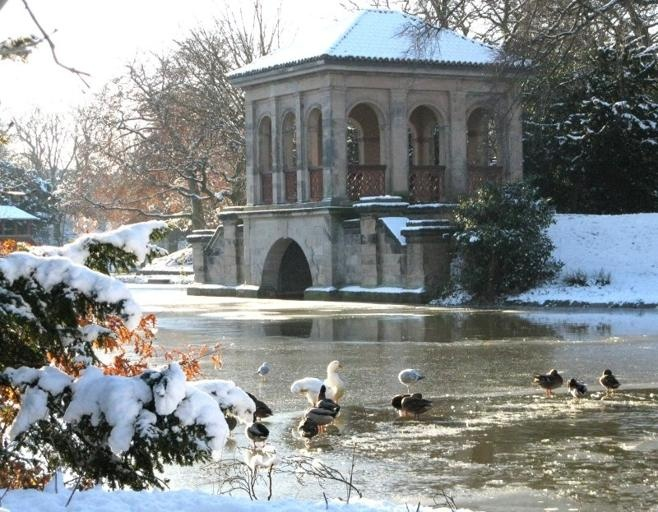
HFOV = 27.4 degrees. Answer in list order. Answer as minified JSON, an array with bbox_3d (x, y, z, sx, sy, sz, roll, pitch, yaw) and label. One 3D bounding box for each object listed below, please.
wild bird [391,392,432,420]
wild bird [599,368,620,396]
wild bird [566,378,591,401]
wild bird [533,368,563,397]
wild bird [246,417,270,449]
[{"bbox_3d":[1.329,2.328,21.307,0.648,0.364,0.510,-1,-6,8],"label":"wild bird"},{"bbox_3d":[4.737,2.055,22.601,0.344,0.397,0.810,-2,-6,12],"label":"wild bird"},{"bbox_3d":[4.148,2.182,22.309,0.229,0.359,0.415,-1,-11,43],"label":"wild bird"},{"bbox_3d":[3.737,2.084,22.627,0.296,0.446,0.537,2,-9,35],"label":"wild bird"},{"bbox_3d":[-1.051,2.580,19.928,0.338,0.413,0.586,0,-6,-4],"label":"wild bird"}]
